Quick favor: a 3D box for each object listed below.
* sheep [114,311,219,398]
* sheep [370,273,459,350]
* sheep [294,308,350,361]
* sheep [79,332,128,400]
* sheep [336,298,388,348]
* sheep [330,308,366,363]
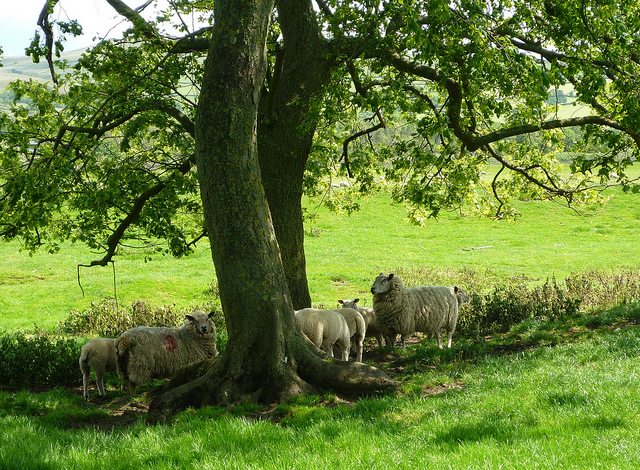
[{"bbox_3d":[-3.840,2.886,19.832,3.101,2.318,1.367,-3,-1,-29],"label":"sheep"},{"bbox_3d":[2.884,2.342,22.698,3.041,2.376,1.657,3,-3,-27],"label":"sheep"},{"bbox_3d":[-0.111,2.654,19.693,2.291,1.278,0.707,14,-16,-37],"label":"sheep"},{"bbox_3d":[-5.336,3.299,19.414,0.678,1.648,2.445,-3,-3,25],"label":"sheep"},{"bbox_3d":[1.345,2.706,22.869,0.656,1.345,1.925,-11,-20,40],"label":"sheep"},{"bbox_3d":[0.603,2.943,21.722,0.643,1.734,2.436,2,-9,-23],"label":"sheep"}]
